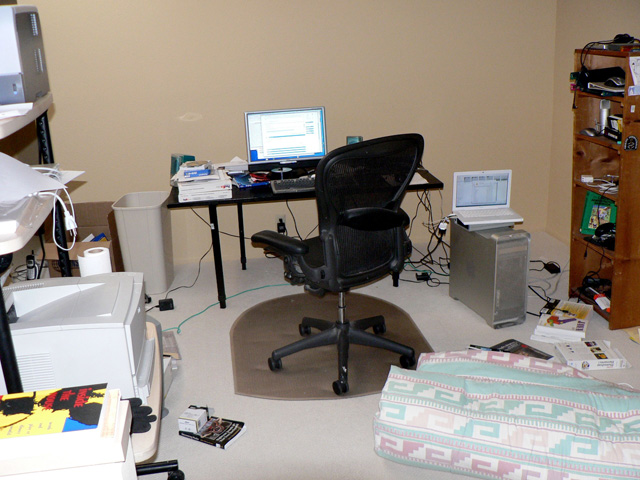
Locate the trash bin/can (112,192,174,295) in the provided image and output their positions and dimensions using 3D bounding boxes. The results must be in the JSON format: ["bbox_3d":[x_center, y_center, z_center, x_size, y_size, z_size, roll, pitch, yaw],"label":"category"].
[{"bbox_3d":[-1.264,0.030,3.722,0.424,0.752,0.613,-3,13,-5],"label":"trash bin/can"}]

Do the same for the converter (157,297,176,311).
[{"bbox_3d":[-1.121,0.468,3.785,0.090,0.092,0.059,0,-3,-15],"label":"converter"}]

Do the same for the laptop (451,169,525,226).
[{"bbox_3d":[1.117,-0.289,3.557,0.498,0.378,0.364,-3,19,-6],"label":"laptop"}]

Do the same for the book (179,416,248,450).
[{"bbox_3d":[-0.523,0.957,2.622,0.221,0.047,0.139,8,19,20],"label":"book"}]

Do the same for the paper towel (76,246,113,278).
[{"bbox_3d":[-1.009,0.095,2.333,0.137,0.143,0.132,3,16,2],"label":"paper towel"}]

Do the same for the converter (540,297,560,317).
[{"bbox_3d":[1.540,0.453,3.531,0.084,0.039,0.159,14,38,41],"label":"converter"}]

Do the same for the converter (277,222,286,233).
[{"bbox_3d":[-0.317,-0.103,4.255,0.095,0.091,0.161,0,10,1],"label":"converter"}]

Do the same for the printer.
[{"bbox_3d":[-0.879,0.328,1.963,0.468,0.369,0.465,1,16,-3],"label":"printer"}]

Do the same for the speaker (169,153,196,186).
[{"bbox_3d":[-0.990,-0.508,3.755,0.090,0.273,0.289,3,14,11],"label":"speaker"}]

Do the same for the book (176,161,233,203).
[{"bbox_3d":[-0.789,-0.436,3.540,0.258,0.114,0.359,-3,19,-11],"label":"book"}]

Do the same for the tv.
[{"bbox_3d":[-0.248,-0.699,3.766,0.590,0.456,0.176,-5,18,-9],"label":"tv"}]

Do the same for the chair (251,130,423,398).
[{"bbox_3d":[0.111,0.065,3.030,0.826,1.371,0.747,-12,21,-33],"label":"chair"}]

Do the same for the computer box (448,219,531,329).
[{"bbox_3d":[1.145,0.207,3.571,0.301,0.650,0.509,-7,14,-15],"label":"computer box"}]
